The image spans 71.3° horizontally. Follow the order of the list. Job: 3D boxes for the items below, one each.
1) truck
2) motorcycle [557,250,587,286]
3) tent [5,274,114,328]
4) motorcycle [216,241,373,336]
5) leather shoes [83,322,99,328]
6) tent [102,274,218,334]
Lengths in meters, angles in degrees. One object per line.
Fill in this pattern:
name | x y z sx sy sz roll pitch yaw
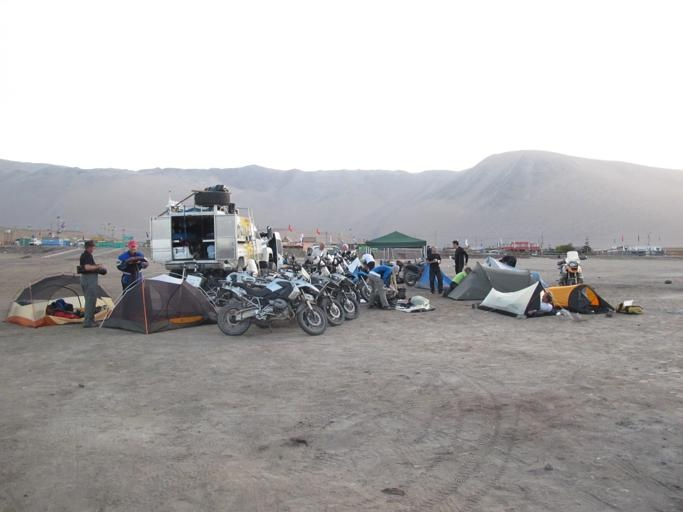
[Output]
truck | -5.316 -1.097 20.001 3.058 3.053 4.989 1 9 6
motorcycle | 9.030 0.526 18.242 0.862 1.210 1.998 -3 -2 6
tent | -8.046 1.351 13.706 2.146 0.884 2.135 0 2 -38
motorcycle | -1.428 1.266 12.550 3.252 1.818 1.551 -2 -9 -2
leather shoes | -6.672 1.846 12.695 0.393 0.162 0.143 0 11 -18
tent | -4.653 1.320 12.825 1.626 0.847 1.895 4 6 31
